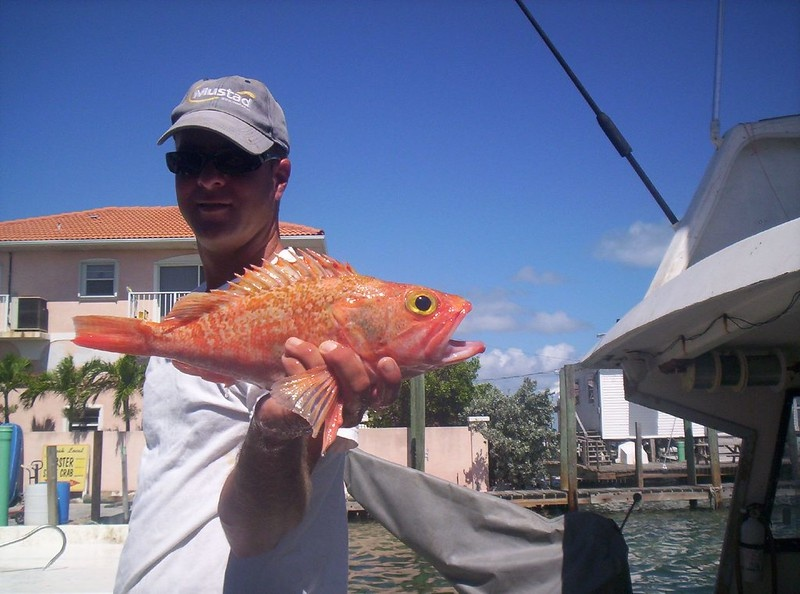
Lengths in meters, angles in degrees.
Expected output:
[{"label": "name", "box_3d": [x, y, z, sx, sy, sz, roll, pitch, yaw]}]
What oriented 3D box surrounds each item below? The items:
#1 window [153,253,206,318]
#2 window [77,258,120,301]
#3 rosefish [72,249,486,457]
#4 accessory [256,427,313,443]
[{"label": "window", "box_3d": [-6.975, -0.823, 21.463, 1.541, 2.105, 0.080, 5, -46, -17]}, {"label": "window", "box_3d": [-9.506, -0.520, 21.424, 1.178, 1.512, 0.121, -1, -8, -5]}, {"label": "rosefish", "box_3d": [-0.578, 0.095, 3.521, 2.000, 0.748, 0.277, -3, -10, 10]}, {"label": "accessory", "box_3d": [-0.598, 0.697, 3.453, 0.253, 0.082, 0.191, 5, -12, -30]}]
